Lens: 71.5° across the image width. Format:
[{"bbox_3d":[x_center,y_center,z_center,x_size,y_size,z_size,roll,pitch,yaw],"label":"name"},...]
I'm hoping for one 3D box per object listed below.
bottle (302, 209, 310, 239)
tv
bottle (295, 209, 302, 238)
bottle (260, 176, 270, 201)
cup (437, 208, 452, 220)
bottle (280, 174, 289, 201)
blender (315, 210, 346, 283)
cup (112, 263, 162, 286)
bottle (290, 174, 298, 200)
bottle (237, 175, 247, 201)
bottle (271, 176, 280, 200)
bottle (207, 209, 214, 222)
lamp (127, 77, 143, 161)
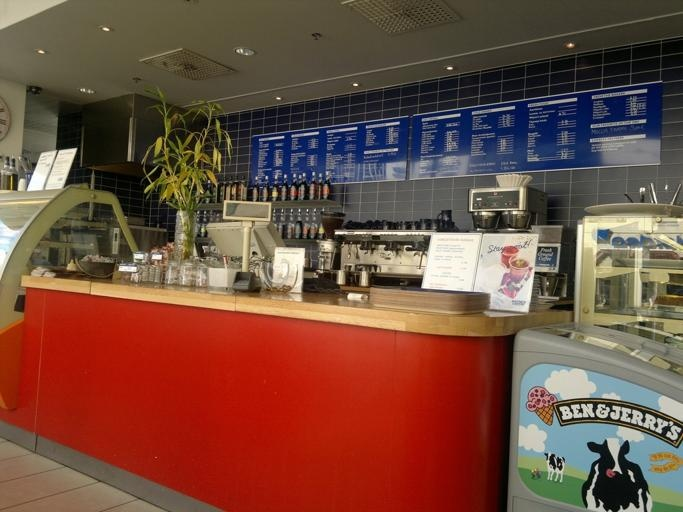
[{"bbox_3d":[-0.473,-0.421,6.211,0.122,0.298,0.337,3,1,-5],"label":"bottle"},{"bbox_3d":[-0.799,-0.168,3.802,0.648,0.216,0.225,1,7,30],"label":"tv"},{"bbox_3d":[-0.579,-0.388,6.266,0.117,0.244,0.301,2,1,-6],"label":"bottle"},{"bbox_3d":[-1.077,-0.930,6.551,0.122,0.239,0.346,2,1,-10],"label":"bottle"},{"bbox_3d":[1.125,-0.464,5.237,0.179,0.150,0.099,0,3,-16],"label":"cup"},{"bbox_3d":[-0.774,-0.910,6.350,0.115,0.261,0.381,2,1,-8],"label":"bottle"},{"bbox_3d":[-0.134,-0.151,5.660,0.267,0.583,0.464,3,1,-2],"label":"blender"},{"bbox_3d":[-1.363,0.107,3.184,0.274,0.085,0.199,0,-1,28],"label":"cup"},{"bbox_3d":[-0.643,-0.891,6.278,0.099,0.251,0.376,2,1,-7],"label":"bottle"},{"bbox_3d":[-1.415,-0.939,6.700,0.126,0.207,0.355,2,1,-13],"label":"bottle"},{"bbox_3d":[-0.913,-0.890,6.427,0.100,0.227,0.355,2,1,-10],"label":"bottle"},{"bbox_3d":[-1.999,-0.600,7.186,0.174,0.147,0.042,6,-3,28],"label":"bottle"},{"bbox_3d":[-2.854,-1.741,6.476,0.183,0.908,0.102,2,1,-14],"label":"lamp"}]
